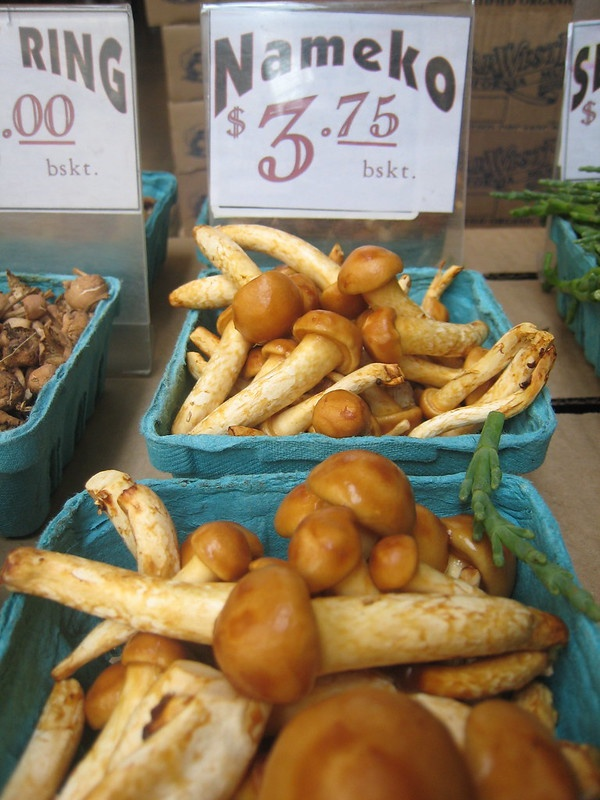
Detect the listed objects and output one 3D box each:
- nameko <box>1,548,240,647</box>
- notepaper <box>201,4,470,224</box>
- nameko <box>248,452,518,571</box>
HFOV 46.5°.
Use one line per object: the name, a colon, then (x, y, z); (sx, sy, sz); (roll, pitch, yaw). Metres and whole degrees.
nameko: (-0.205, 0.219, 0.795); (0.255, 0.078, 0.056); (6, 29, 8)
notepaper: (0.080, -0.656, 1.550); (0.537, 0.359, 0.056); (1, 19, -2)
nameko: (0.058, 0.126, 0.822); (0.172, 0.111, 0.110); (0, 28, -5)
